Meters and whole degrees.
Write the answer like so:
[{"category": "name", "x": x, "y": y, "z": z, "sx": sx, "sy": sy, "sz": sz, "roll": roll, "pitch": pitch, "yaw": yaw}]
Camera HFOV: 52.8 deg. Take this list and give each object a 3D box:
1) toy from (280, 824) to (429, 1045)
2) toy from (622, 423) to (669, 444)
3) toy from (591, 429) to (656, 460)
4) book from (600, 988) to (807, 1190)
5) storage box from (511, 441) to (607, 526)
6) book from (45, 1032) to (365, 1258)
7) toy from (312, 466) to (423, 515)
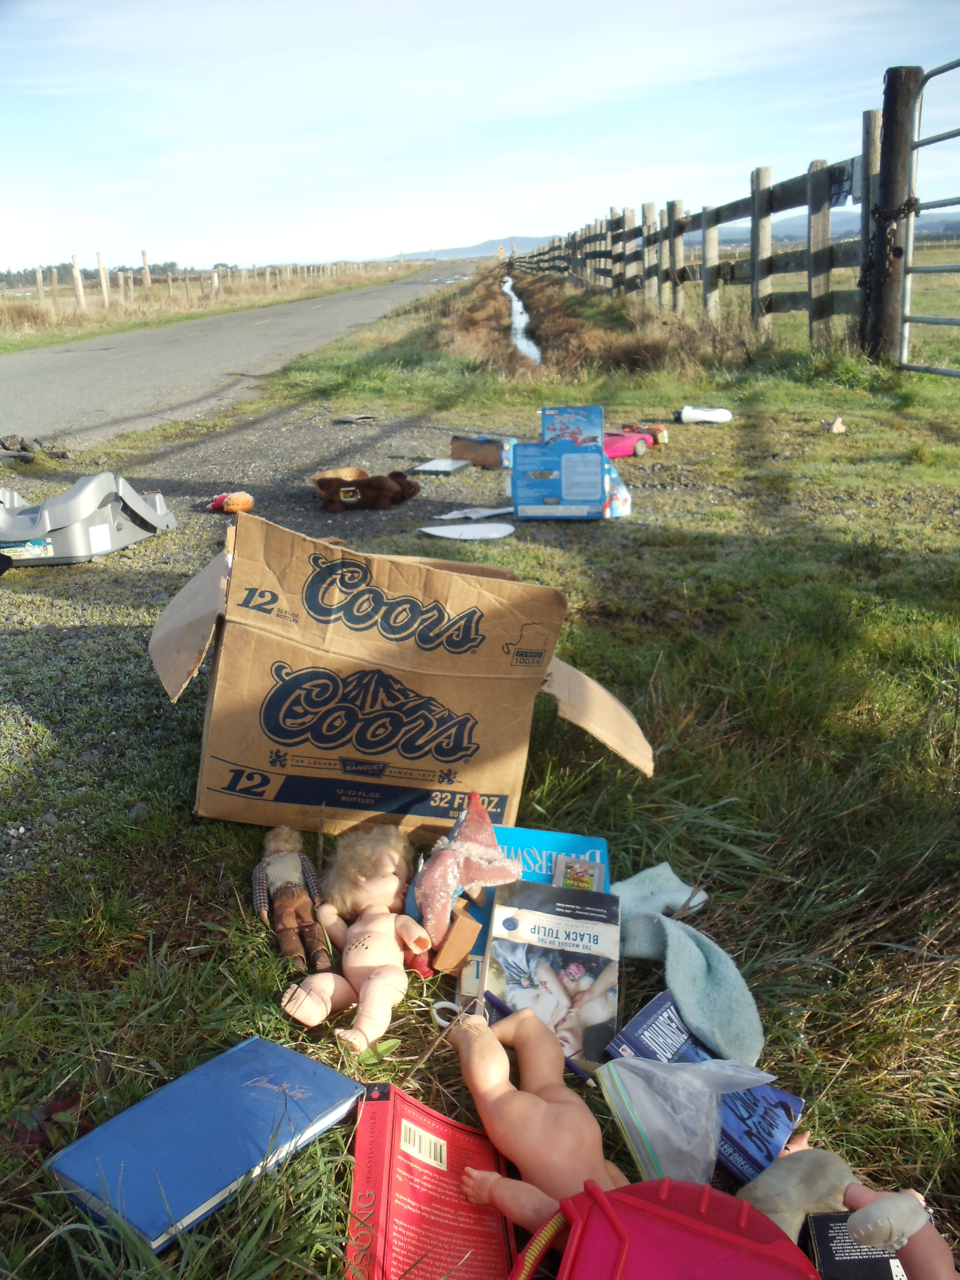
[{"category": "toy", "x": -0.271, "y": 0.672, "z": 2.244, "sx": 0.222, "sy": 0.125, "sz": 0.393, "roll": -11, "pitch": 28, "yaw": 14}, {"category": "toy", "x": 1.507, "y": -1.816, "z": 8.629, "sx": 0.274, "sy": 0.153, "sz": 0.373, "roll": 1, "pitch": 18, "yaw": 0}, {"category": "toy", "x": 1.278, "y": -1.654, "z": 8.296, "sx": 0.480, "sy": 0.219, "sz": 0.846, "roll": -4, "pitch": 12, "yaw": 5}, {"category": "book", "x": 0.404, "y": 0.878, "z": 1.829, "sx": 0.255, "sy": 0.076, "sz": 0.255, "roll": 39, "pitch": 37, "yaw": 18}, {"category": "storage box", "x": 0.458, "y": -0.951, "z": 6.198, "sx": 0.756, "sy": 0.621, "sz": 0.448, "roll": 0, "pitch": -2, "yaw": 0}, {"category": "book", "x": -0.460, "y": 0.839, "z": 1.673, "sx": 0.300, "sy": 0.104, "sz": 0.444, "roll": 11, "pitch": 25, "yaw": 37}, {"category": "toy", "x": -0.808, "y": -0.999, "z": 6.466, "sx": 0.769, "sy": 0.336, "sz": 0.271, "roll": -3, "pitch": 19, "yaw": -20}]
